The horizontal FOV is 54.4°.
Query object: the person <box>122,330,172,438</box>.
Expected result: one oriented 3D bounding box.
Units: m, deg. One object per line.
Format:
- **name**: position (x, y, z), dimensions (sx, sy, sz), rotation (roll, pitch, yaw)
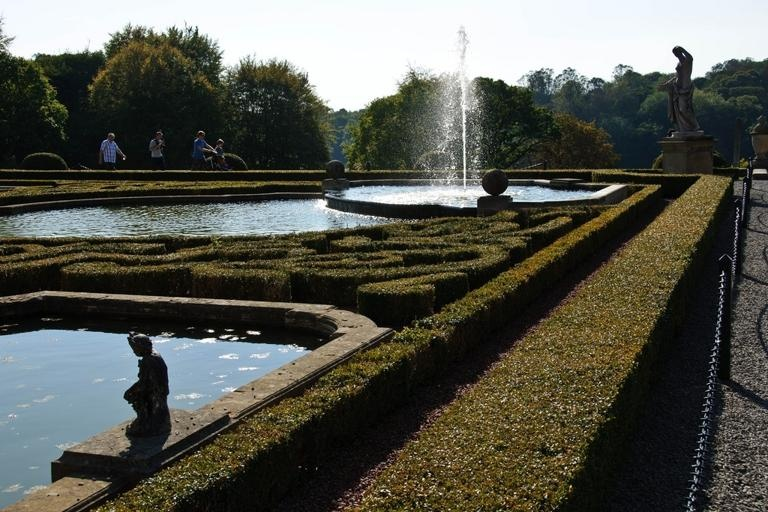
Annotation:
- **person**: position (-2.123, 1.122, 6.609), dimensions (0.386, 0.893, 0.324), rotation (-5, 10, -20)
